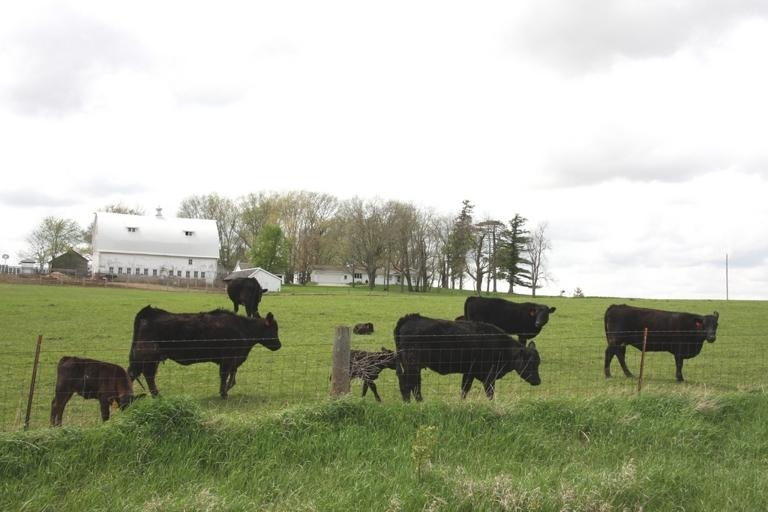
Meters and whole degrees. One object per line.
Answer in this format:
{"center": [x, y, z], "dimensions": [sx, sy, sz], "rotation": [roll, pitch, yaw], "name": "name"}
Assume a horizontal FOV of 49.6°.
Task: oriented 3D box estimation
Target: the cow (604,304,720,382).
{"center": [8.222, 2.626, 24.652], "dimensions": [3.201, 2.191, 1.163], "rotation": [-1, 2, 20], "name": "cow"}

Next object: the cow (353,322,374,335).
{"center": [-0.794, 2.718, 30.614], "dimensions": [0.811, 0.406, 0.319], "rotation": [-4, 0, -3], "name": "cow"}

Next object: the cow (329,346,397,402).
{"center": [-0.334, 2.932, 20.572], "dimensions": [1.049, 1.280, 1.409], "rotation": [3, -2, -9], "name": "cow"}
